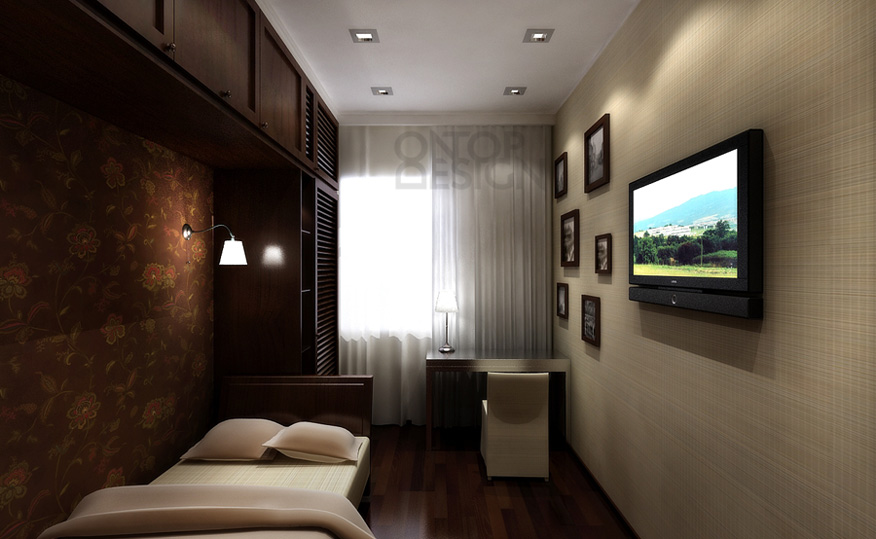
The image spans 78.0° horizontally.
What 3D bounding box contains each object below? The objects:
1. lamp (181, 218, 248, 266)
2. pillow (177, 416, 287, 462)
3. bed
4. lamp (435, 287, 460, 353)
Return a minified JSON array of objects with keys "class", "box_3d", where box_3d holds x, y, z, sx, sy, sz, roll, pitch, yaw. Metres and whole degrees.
[{"class":"lamp","box_3d":[-1.595,-0.205,3.858,0.435,0.228,0.160,8,1,1]},{"class":"pillow","box_3d":[-1.430,1.184,3.796,0.359,0.110,0.363,0,5,5]},{"class":"bed","box_3d":[-1.058,1.095,3.760,0.878,0.760,1.160,0,3,-1]},{"class":"lamp","box_3d":[0.077,0.500,5.228,0.198,0.588,0.380,0,12,0]}]
